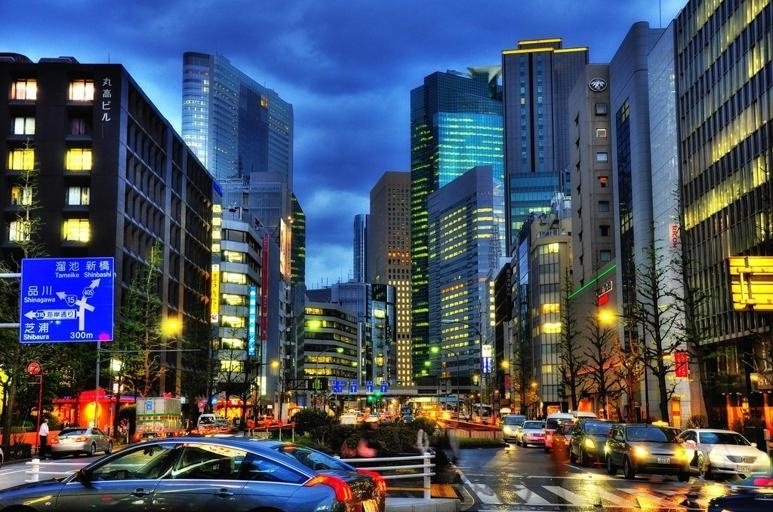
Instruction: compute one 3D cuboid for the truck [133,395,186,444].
[{"bbox_3d":[-18.490,13.208,66.699,3.431,4.000,6.845,0,-8,2],"label":"truck"}]
